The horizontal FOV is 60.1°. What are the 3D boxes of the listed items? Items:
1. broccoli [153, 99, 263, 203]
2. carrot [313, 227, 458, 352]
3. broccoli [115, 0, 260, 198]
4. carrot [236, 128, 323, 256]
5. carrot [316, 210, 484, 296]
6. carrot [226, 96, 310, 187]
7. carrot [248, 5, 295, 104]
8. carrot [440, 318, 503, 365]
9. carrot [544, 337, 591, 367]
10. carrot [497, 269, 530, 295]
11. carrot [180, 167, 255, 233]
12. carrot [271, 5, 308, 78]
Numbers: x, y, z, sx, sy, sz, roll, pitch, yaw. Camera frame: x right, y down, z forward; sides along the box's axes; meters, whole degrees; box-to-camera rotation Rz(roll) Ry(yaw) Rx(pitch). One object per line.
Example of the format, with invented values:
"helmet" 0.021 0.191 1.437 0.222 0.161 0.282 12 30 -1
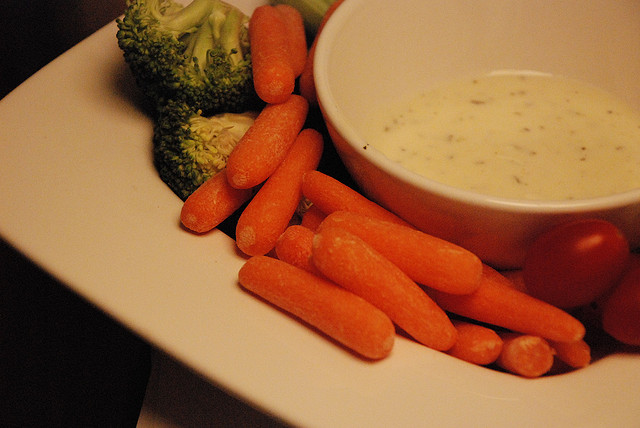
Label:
"broccoli" -0.316 -0.183 1.574 0.280 0.161 0.237 -33 82 -16
"carrot" 0.150 0.160 1.238 0.349 0.186 0.101 25 62 21
"broccoli" -0.413 -0.310 1.598 0.424 0.275 0.550 3 72 -34
"carrot" -0.077 -0.028 1.463 0.106 0.099 0.357 -15 17 41
"carrot" 0.241 0.094 1.325 0.327 0.103 0.103 15 23 40
"carrot" -0.132 -0.176 1.467 0.120 0.100 0.300 29 55 10
"carrot" -0.130 -0.435 1.467 0.094 0.093 0.309 -8 53 1
"carrot" 0.362 0.280 1.310 0.084 0.063 0.177 -51 26 -10
"carrot" 0.569 0.311 1.277 0.102 0.058 0.031 18 19 20
"carrot" 0.490 0.166 1.383 0.027 0.052 0.051 -46 65 16
"carrot" -0.256 -0.033 1.430 0.208 0.075 0.088 -36 18 -36
"carrot" -0.082 -0.501 1.567 0.097 0.071 0.216 -4 76 -34
